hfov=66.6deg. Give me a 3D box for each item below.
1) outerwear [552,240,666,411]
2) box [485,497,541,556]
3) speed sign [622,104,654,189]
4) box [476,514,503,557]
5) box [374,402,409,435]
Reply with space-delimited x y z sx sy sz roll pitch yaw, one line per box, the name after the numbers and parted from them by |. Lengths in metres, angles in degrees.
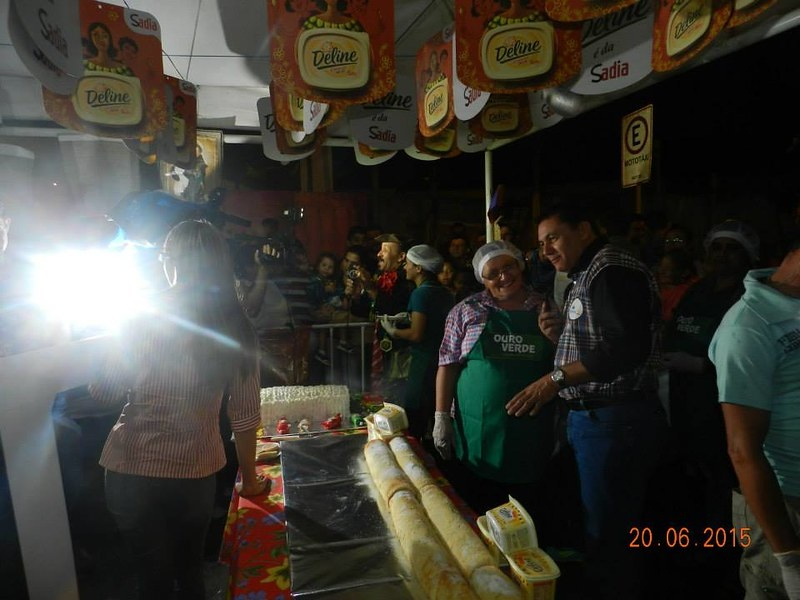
1.347 0.132 4.550 0.908 1.357 1.574 0 -8 12 | outerwear
0.572 1.171 3.157 0.199 0.196 0.251 -20 21 -15 | box
1.989 -1.288 5.111 0.157 0.631 0.416 1 -1 -11 | speed sign
0.478 1.251 3.240 0.134 0.104 0.171 -4 10 0 | box
-0.089 0.787 4.296 0.168 0.299 0.307 0 -5 -39 | box
